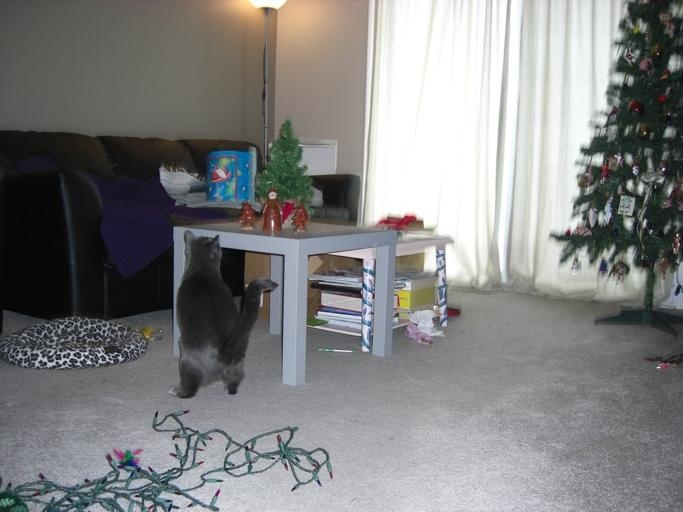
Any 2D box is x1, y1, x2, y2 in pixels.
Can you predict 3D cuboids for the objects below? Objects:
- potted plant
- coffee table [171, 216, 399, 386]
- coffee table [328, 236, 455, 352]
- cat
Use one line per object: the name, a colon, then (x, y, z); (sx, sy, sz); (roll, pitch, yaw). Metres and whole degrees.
potted plant: (-0.276, -0.401, 2.448); (0.272, 0.496, 0.343); (1, 10, -9)
coffee table: (-0.268, 0.050, 2.415); (0.784, 0.715, 0.819); (4, 7, 35)
coffee table: (0.221, 0.236, 3.120); (0.567, 0.694, 1.042); (-3, -2, -23)
cat: (-0.508, 0.234, 2.013); (0.355, 0.579, 0.461); (-6, 12, -40)
